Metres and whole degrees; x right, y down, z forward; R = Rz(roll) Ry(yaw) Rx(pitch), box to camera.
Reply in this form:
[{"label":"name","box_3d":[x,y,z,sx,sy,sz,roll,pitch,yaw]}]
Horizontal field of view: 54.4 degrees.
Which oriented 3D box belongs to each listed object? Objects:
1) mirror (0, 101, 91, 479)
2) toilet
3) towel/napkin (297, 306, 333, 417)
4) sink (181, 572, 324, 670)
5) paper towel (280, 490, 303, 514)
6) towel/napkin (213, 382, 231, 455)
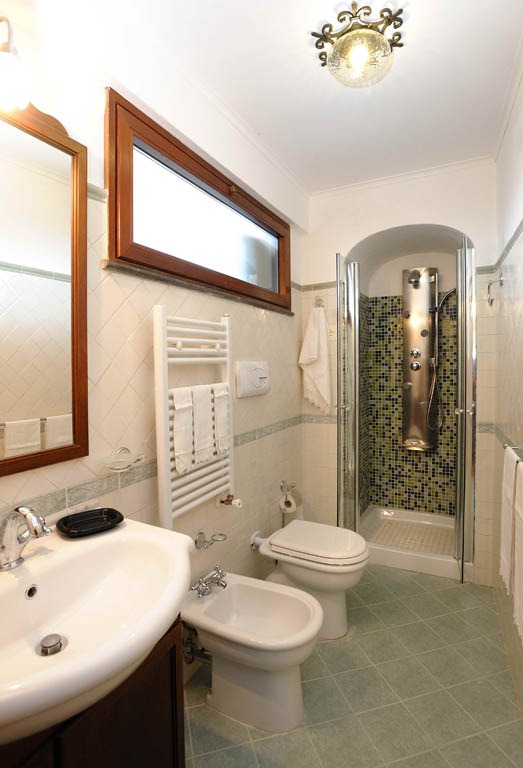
[{"label":"mirror","box_3d":[-0.535,-0.236,1.269,0.053,0.881,0.315,1,4,21]},{"label":"toilet","box_3d":[0.206,0.879,2.308,0.500,0.446,0.327,4,12,27]},{"label":"towel/napkin","box_3d":[0.321,-0.152,3.046,0.202,0.651,0.178,0,4,9]},{"label":"sink","box_3d":[-0.031,0.807,1.752,0.482,0.140,0.367,2,5,25]},{"label":"paper towel","box_3d":[0.156,0.646,2.827,0.081,0.127,0.172,1,5,20]},{"label":"towel/napkin","box_3d":[-0.161,0.114,1.994,0.018,0.213,0.165,-1,-2,-28]}]
